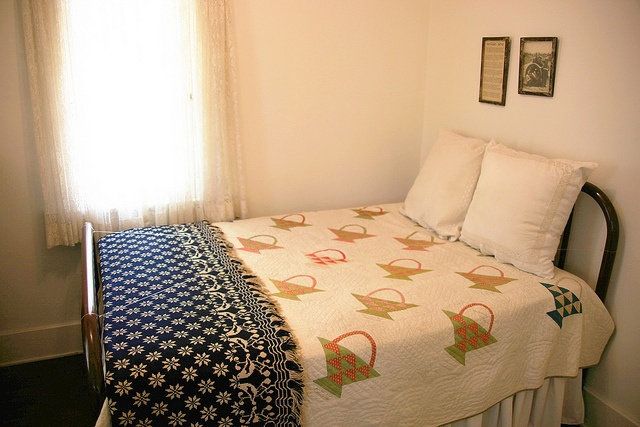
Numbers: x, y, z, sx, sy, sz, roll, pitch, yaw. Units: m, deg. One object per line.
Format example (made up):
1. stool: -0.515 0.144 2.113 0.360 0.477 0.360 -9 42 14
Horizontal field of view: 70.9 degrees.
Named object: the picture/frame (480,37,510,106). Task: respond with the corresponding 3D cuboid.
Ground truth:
1. picture/frame: 1.203 -0.982 3.108 0.049 0.441 0.261 -6 20 -22
